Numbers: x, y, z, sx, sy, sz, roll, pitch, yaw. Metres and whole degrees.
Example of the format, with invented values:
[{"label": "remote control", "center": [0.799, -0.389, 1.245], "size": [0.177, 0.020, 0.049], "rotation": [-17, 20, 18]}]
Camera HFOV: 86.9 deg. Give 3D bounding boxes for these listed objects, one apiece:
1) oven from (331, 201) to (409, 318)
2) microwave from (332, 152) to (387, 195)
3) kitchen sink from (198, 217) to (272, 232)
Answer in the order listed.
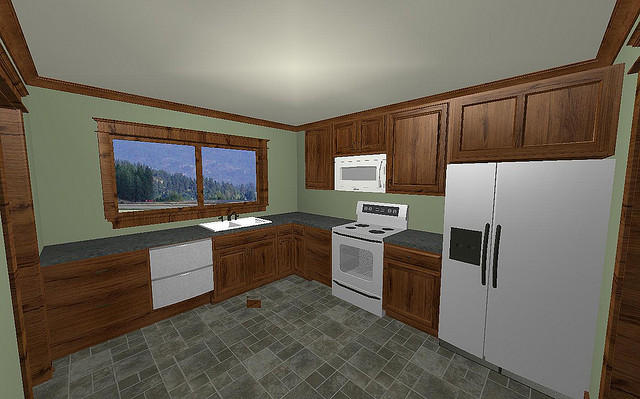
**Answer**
[{"label": "oven", "center": [0.710, 0.787, 4.909], "size": [0.757, 1.325, 1.008], "rotation": [-10, 10, -37]}, {"label": "microwave", "center": [0.766, -0.388, 5.261], "size": [0.640, 0.537, 0.976], "rotation": [-4, 6, -45]}, {"label": "kitchen sink", "center": [-1.285, 0.392, 5.224], "size": [0.987, 0.115, 0.618], "rotation": [-9, 10, -44]}]
